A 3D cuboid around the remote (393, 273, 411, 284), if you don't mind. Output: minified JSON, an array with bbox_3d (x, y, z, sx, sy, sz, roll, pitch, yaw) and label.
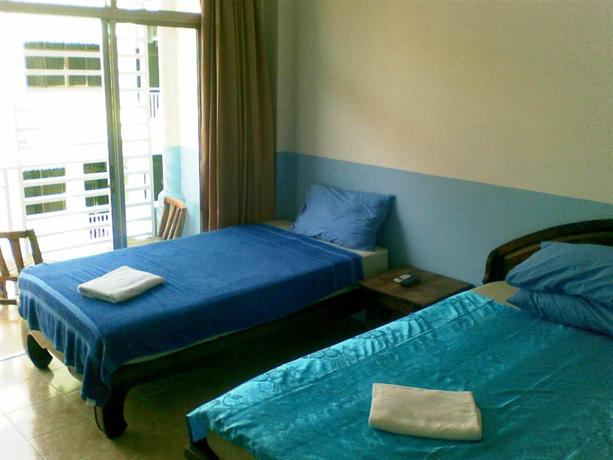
[{"bbox_3d":[0.735,0.362,3.662,0.063,0.018,0.109,8,17,39],"label":"remote"}]

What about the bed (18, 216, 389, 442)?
[{"bbox_3d":[-1.135,0.219,3.186,2.200,0.496,1.409,-14,21,-41],"label":"bed"}]

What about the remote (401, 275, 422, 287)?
[{"bbox_3d":[0.780,0.372,3.615,0.134,0.040,0.069,-16,24,-38],"label":"remote"}]
